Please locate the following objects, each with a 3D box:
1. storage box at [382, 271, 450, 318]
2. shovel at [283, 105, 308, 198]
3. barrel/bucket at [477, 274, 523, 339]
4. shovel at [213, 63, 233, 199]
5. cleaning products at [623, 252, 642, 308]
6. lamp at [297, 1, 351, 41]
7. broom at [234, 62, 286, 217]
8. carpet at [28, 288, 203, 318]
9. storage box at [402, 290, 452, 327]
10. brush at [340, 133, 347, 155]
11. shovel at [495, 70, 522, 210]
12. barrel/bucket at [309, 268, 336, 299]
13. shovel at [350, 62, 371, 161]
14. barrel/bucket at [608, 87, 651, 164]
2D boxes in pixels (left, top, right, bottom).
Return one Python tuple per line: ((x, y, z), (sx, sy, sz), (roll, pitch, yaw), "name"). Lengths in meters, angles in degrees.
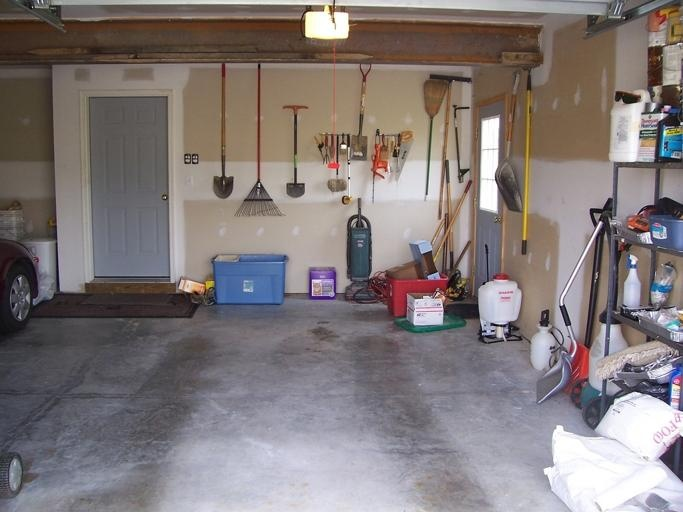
((0.744, 0.403, 5.763), (0.481, 0.301, 0.485), (0, 1, -12), "storage box")
((-0.559, -1.258, 6.561), (0.311, 1.103, 0.152), (-3, 9, -5), "shovel")
((1.577, 0.488, 5.201), (0.396, 0.673, 0.443), (-2, 15, 13), "barrel/bucket")
((-1.461, -1.489, 6.497), (0.293, 1.649, 0.132), (4, 11, 20), "shovel")
((1.734, 0.152, 3.165), (0.085, 0.312, 0.315), (3, 10, 28), "cleaning products")
((-0.124, -1.671, 3.661), (0.304, 0.280, 0.675), (-3, 8, -6), "lamp")
((-1.076, -1.397, 6.545), (0.587, 1.860, 0.107), (-4, 9, -10), "broom")
((-2.589, 0.578, 6.230), (1.844, 0.156, 1.044), (-3, 8, -2), "carpet")
((0.879, 0.539, 5.524), (0.357, 0.279, 0.364), (0, 4, -1), "storage box")
((0.026, -1.387, 6.587), (0.097, 0.247, 0.073), (-2, 9, 1), "brush")
((1.647, -1.107, 5.252), (0.240, 1.355, 0.565), (0, 9, 16), "shovel")
((-0.243, 0.352, 6.586), (0.326, 0.373, 0.172), (-3, 9, -4), "barrel/bucket")
((0.250, -1.767, 6.557), (0.281, 1.170, 0.142), (-7, 10, -29), "shovel")
((1.666, -0.730, 3.037), (0.248, 0.370, 0.237), (2, 12, 0), "barrel/bucket")
